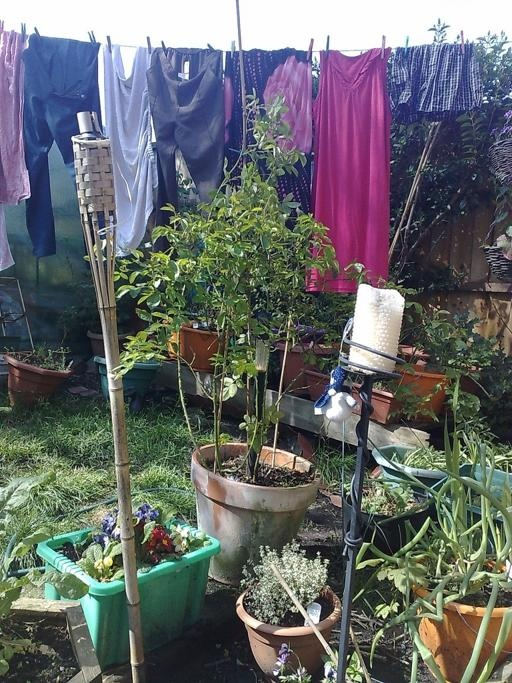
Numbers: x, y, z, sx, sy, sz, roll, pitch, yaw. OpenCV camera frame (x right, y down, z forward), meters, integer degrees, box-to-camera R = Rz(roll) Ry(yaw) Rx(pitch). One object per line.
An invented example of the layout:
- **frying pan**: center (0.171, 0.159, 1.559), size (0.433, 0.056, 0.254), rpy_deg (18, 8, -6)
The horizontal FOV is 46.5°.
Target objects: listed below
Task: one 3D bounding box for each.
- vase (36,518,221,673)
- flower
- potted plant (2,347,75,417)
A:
- **vase**: center (-0.362, 0.717, 1.790), size (0.388, 0.261, 0.487), rpy_deg (5, -4, 39)
- **flower**: center (-0.328, 0.538, 1.730), size (0.301, 0.081, 0.209), rpy_deg (-4, 11, -44)
- **potted plant**: center (-1.457, 0.190, 4.126), size (0.519, 0.439, 0.429), rpy_deg (28, -10, -27)
